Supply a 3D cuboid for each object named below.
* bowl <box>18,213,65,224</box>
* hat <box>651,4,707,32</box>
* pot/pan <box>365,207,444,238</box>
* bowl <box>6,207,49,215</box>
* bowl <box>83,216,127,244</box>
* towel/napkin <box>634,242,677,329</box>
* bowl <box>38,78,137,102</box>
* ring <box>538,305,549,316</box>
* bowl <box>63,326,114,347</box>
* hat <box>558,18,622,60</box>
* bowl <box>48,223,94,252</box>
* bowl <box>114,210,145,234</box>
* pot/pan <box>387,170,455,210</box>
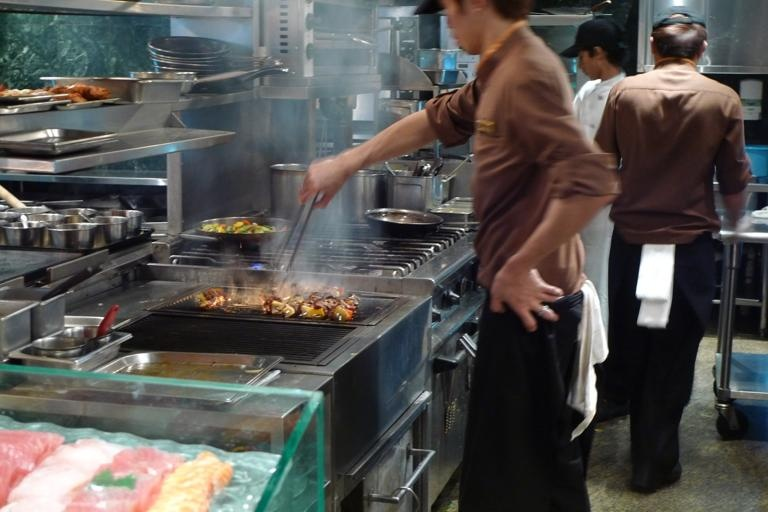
[{"bbox_3d":[-1.180,-0.123,2.119,0.087,0.025,0.052,0,3,-43],"label":"bowl"},{"bbox_3d":[1.566,-1.243,3.238,0.208,0.074,0.181,3,17,16],"label":"hat"},{"bbox_3d":[0.100,-0.163,3.054,0.256,0.051,0.227,8,11,25],"label":"pot/pan"},{"bbox_3d":[-1.260,-0.157,2.150,0.071,0.019,0.061,-1,7,10],"label":"bowl"},{"bbox_3d":[-0.999,-0.092,2.176,0.123,0.069,0.120,0,5,0],"label":"bowl"},{"bbox_3d":[1.411,0.161,3.154,0.165,0.428,0.155,5,16,20],"label":"towel/napkin"},{"bbox_3d":[-0.992,-0.594,2.123,0.205,0.045,0.180,3,7,15],"label":"bowl"},{"bbox_3d":[0.512,0.179,1.931,0.035,0.029,0.036,-1,2,0],"label":"ring"},{"bbox_3d":[-0.828,0.225,1.685,0.081,0.024,0.073,-2,14,-22],"label":"bowl"},{"bbox_3d":[1.301,-1.373,3.833,0.393,0.193,0.236,8,24,15],"label":"hat"},{"bbox_3d":[-1.032,-0.059,2.011,0.124,0.042,0.102,3,9,15],"label":"bowl"},{"bbox_3d":[-0.967,-0.130,2.310,0.124,0.065,0.107,0,5,-3],"label":"bowl"},{"bbox_3d":[0.174,-0.386,3.491,0.308,0.151,0.268,3,10,15],"label":"pot/pan"}]
